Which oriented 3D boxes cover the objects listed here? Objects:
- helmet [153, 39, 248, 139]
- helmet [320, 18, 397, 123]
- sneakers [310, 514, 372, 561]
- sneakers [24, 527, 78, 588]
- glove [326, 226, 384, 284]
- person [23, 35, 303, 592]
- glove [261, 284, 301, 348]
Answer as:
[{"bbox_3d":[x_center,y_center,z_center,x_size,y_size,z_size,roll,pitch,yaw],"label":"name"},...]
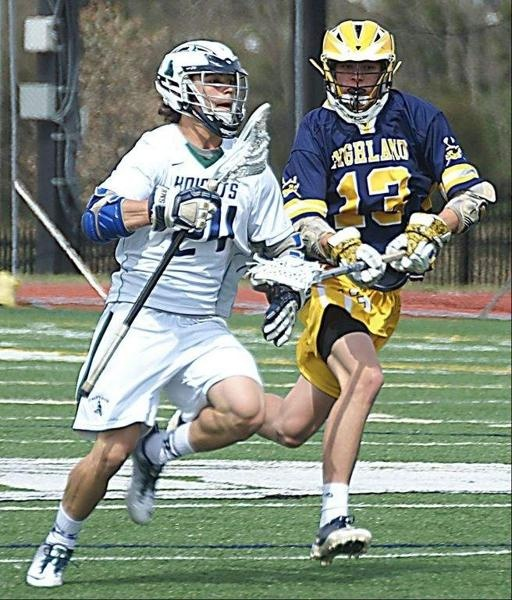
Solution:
[{"bbox_3d":[-0.119,-0.751,3.549,0.356,0.303,0.406,-11,17,-21],"label":"helmet"},{"bbox_3d":[0.394,-0.872,3.894,0.488,0.324,0.425,-1,4,2],"label":"helmet"},{"bbox_3d":[0.266,0.770,3.251,0.160,0.134,0.179,3,6,-6],"label":"sneakers"},{"bbox_3d":[-0.639,0.807,3.198,0.113,0.170,0.181,6,7,15],"label":"sneakers"},{"bbox_3d":[0.353,-0.166,3.660,0.244,0.153,0.096,51,9,34],"label":"glove"},{"bbox_3d":[-0.262,0.005,3.414,0.639,1.789,0.929,7,8,17],"label":"person"},{"bbox_3d":[0.075,0.052,3.662,0.198,0.193,0.081,-9,15,-21],"label":"glove"}]
